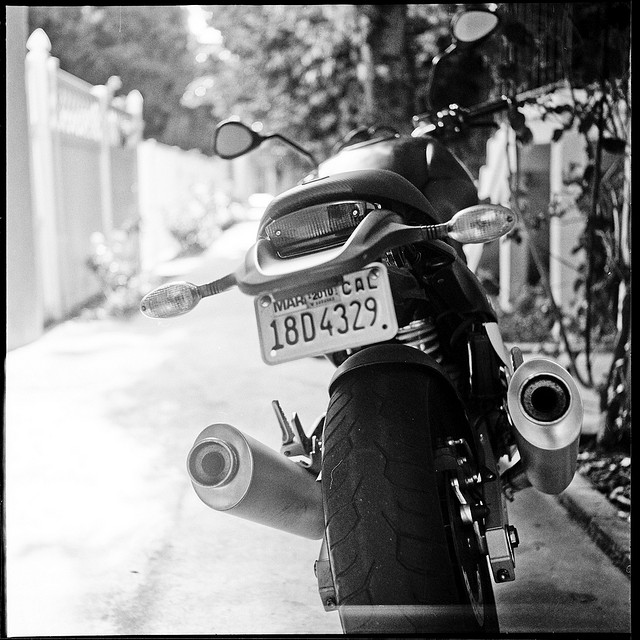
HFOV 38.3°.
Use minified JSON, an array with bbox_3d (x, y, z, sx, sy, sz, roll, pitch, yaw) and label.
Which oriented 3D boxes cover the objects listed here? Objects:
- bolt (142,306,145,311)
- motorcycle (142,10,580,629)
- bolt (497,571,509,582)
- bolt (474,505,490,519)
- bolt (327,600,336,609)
[{"bbox_3d":[-0.465,-0.029,2.423,0.008,0.009,0.003,-2,-4,13],"label":"bolt"},{"bbox_3d":[0.198,0.177,2.539,1.009,1.404,0.909,0,6,21],"label":"motorcycle"},{"bbox_3d":[0.468,0.655,2.334,0.029,0.021,0.021,-2,6,6],"label":"bolt"},{"bbox_3d":[0.396,0.467,2.229,0.019,0.032,0.055,3,8,43],"label":"bolt"},{"bbox_3d":[0.031,0.752,2.396,0.025,0.020,0.027,-2,47,6],"label":"bolt"}]
